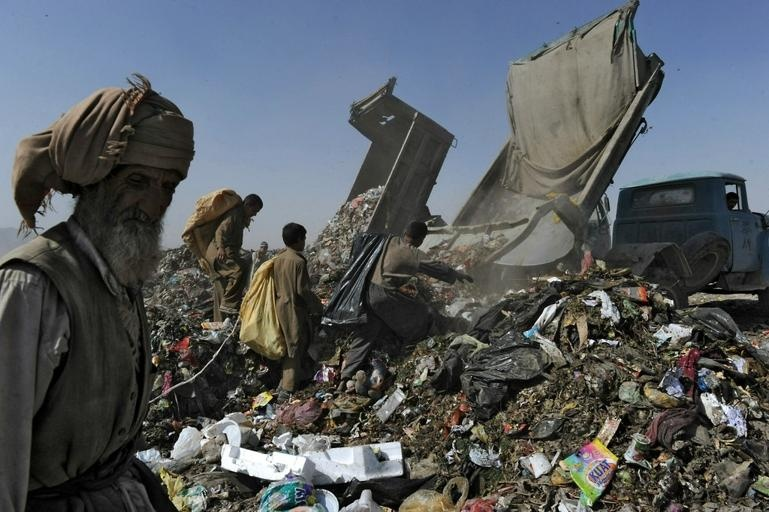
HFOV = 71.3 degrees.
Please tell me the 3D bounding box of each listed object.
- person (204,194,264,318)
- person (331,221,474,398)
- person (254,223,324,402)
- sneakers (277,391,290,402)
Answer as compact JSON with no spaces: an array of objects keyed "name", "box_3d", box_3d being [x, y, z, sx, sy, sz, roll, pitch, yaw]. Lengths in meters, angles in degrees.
[{"name":"person","box_3d":[-2.023,0.001,6.914,0.597,1.689,0.527,6,-6,4]},{"name":"person","box_3d":[0.003,0.526,6.146,1.343,1.954,0.667,7,-6,-3]},{"name":"person","box_3d":[-1.018,0.603,6.081,0.639,1.957,0.478,8,-6,-12]},{"name":"sneakers","box_3d":[-1.085,1.520,5.768,0.111,0.099,0.091,-8,-6,13]}]
